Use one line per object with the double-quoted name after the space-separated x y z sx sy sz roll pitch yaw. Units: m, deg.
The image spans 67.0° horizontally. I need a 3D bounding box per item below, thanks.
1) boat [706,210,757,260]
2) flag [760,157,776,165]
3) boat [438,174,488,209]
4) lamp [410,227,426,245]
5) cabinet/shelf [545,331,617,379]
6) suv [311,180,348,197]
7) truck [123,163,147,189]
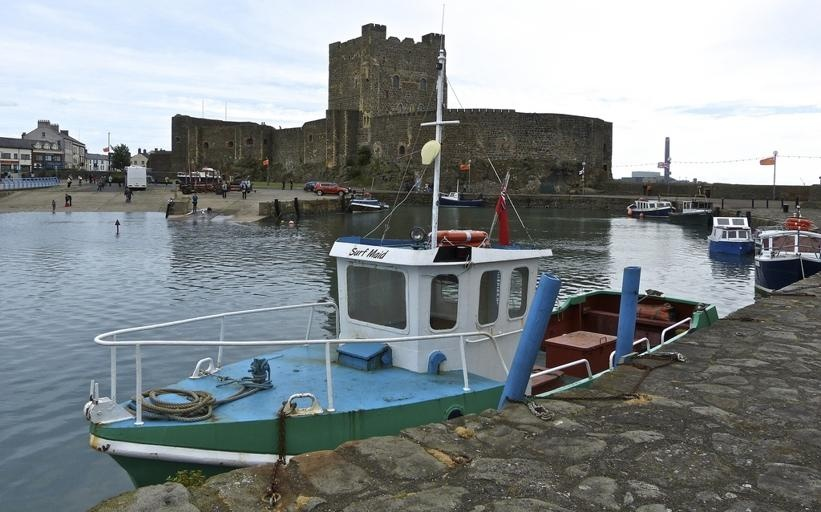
19.525 -1.266 37.591 1.889 1.695 4.385 6 16 25 "boat"
29.644 -7.797 51.267 0.984 0.630 9.993 7 11 29 "flag"
4.853 -6.285 69.250 6.822 3.396 2.088 4 -6 -1 "boat"
0.112 -0.330 10.487 0.251 0.275 0.285 2 -5 0 "lamp"
3.322 1.833 12.019 0.999 0.544 0.970 -11 14 -37 "cabinet/shelf"
-9.313 -7.467 69.483 3.818 1.212 1.827 -1 13 -2 "suv"
-30.382 -8.595 67.810 2.027 1.718 3.431 -3 12 -24 "truck"
